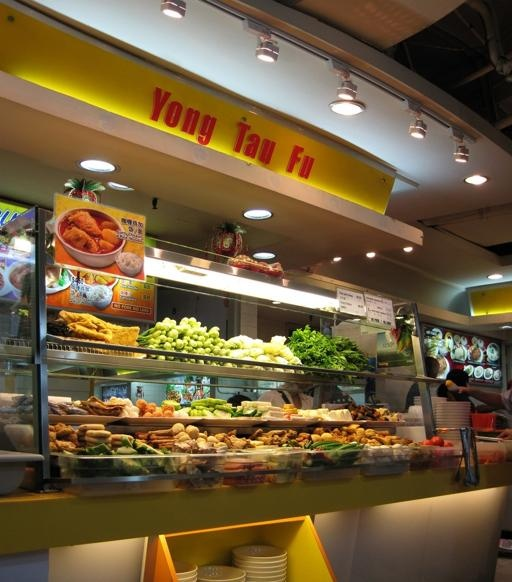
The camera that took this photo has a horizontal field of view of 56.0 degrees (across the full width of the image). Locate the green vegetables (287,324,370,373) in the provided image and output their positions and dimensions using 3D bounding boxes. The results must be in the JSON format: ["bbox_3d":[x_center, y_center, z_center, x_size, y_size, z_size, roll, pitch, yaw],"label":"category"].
[{"bbox_3d":[0.424,0.363,2.868,0.400,0.182,0.340,5,-5,42],"label":"green vegetables"}]
